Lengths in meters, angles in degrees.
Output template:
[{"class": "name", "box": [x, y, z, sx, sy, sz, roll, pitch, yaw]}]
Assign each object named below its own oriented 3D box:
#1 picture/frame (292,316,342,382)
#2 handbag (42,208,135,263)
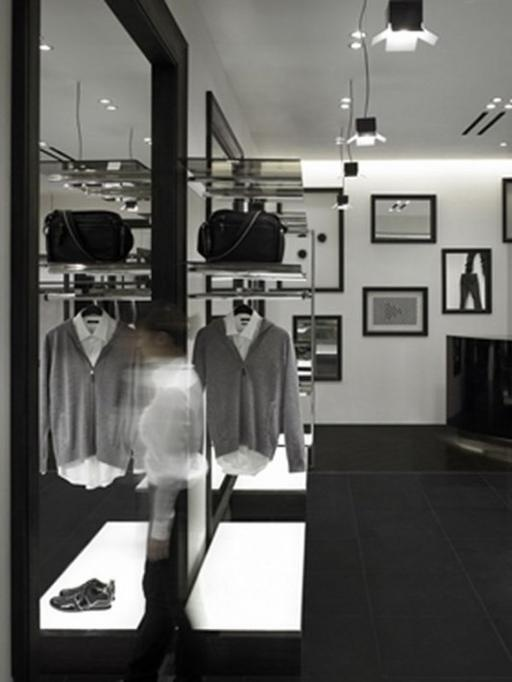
[{"class": "picture/frame", "box": [0.376, 0.025, 3.849, 0.314, 0.030, 0.564, 0, 46, 7]}, {"class": "handbag", "box": [-0.356, -0.223, 1.342, 0.066, 0.128, 0.378, 0, 3, 7]}]
